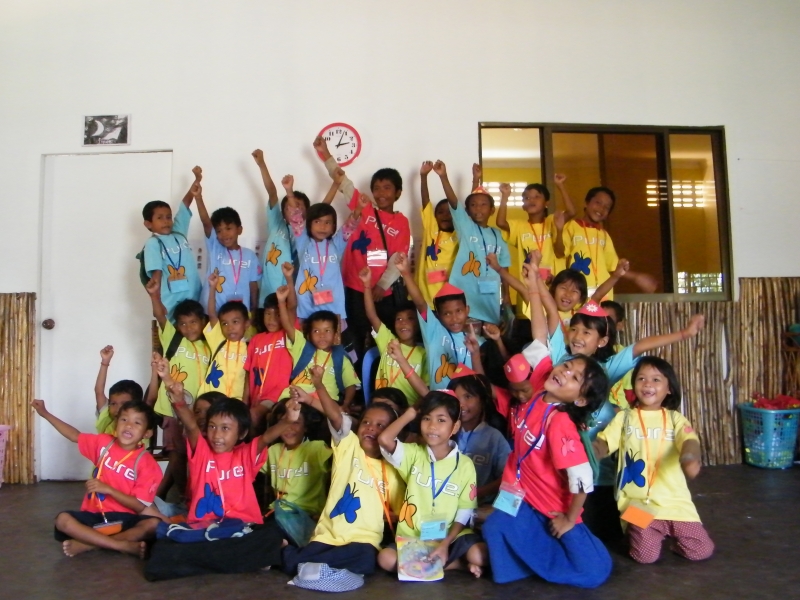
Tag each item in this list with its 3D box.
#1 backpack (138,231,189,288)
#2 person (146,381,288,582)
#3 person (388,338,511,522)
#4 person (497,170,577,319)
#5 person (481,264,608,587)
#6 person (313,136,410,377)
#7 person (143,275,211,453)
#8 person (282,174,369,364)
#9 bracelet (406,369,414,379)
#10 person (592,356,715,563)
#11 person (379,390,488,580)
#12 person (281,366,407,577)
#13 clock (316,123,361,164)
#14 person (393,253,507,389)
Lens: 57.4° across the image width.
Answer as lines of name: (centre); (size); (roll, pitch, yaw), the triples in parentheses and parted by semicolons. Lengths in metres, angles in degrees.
backpack: (-1.698, -0.306, 5.164); (0.380, 0.416, 0.284); (2, 3, -15)
person: (-0.934, 0.889, 3.786); (0.715, 0.936, 0.417); (-2, 2, -10)
person: (0.259, 0.724, 3.920); (0.561, 0.976, 0.299); (-13, -15, -9)
person: (1.003, -0.214, 5.337); (0.516, 1.353, 0.316); (-2, 14, 11)
person: (0.752, 0.617, 3.590); (0.516, 1.601, 0.626); (-10, 19, -36)
person: (-0.291, -0.178, 5.287); (0.704, 1.846, 0.436); (-1, 22, -12)
person: (-1.416, 0.412, 4.915); (0.538, 1.203, 0.251); (-3, 27, -26)
person: (-0.516, -0.160, 5.113); (0.617, 1.634, 0.366); (3, 31, -6)
bracelet: (0.051, 0.422, 4.135); (0.034, 0.029, 0.036); (8, 10, 29)
person: (1.295, 0.807, 3.771); (0.553, 1.018, 0.409); (0, 2, 31)
person: (0.144, 0.909, 3.673); (0.529, 0.895, 0.272); (-2, 2, -4)
person: (-0.242, 0.930, 3.747); (0.680, 1.015, 0.521); (17, -20, -32)
clock: (-0.448, -1.156, 5.412); (0.289, 0.334, 0.034); (2, -3, -1)
person: (0.327, 0.149, 4.620); (0.696, 1.130, 0.298); (-2, -3, -6)
